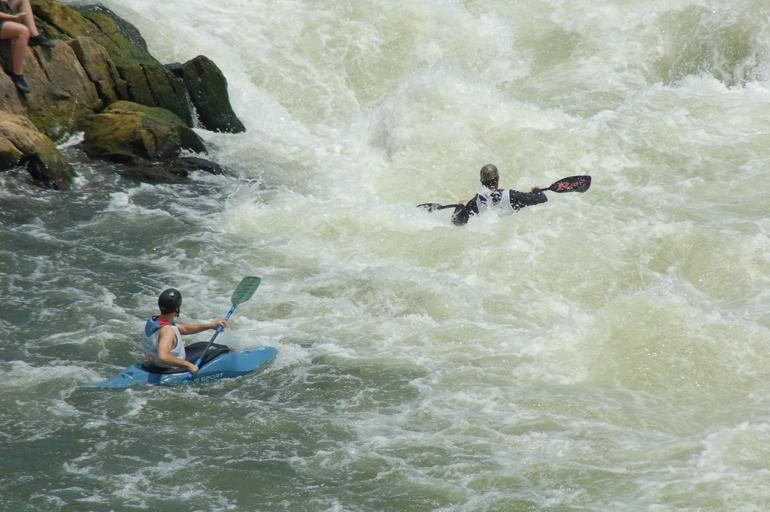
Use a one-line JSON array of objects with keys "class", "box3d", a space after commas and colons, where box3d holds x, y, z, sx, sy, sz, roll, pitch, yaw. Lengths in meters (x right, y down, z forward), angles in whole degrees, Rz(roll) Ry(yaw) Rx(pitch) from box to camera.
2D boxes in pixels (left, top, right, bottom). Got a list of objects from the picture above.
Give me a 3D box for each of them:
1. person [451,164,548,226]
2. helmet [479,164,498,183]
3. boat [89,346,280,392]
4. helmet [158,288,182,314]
[{"class": "person", "box3d": [2.377, -1.151, 27.357, 1.495, 1.076, 1.313, 15, -20, -10]}, {"class": "helmet", "box3d": [2.129, -1.732, 27.075, 0.456, 0.397, 0.342, 2, -61, 12]}, {"class": "boat", "box3d": [-3.346, 1.967, 23.839, 3.652, 0.372, 0.849, -3, 3, -24]}, {"class": "helmet", "box3d": [-3.761, 0.779, 23.412, 0.503, 0.461, 0.430, 7, -55, 0]}]
